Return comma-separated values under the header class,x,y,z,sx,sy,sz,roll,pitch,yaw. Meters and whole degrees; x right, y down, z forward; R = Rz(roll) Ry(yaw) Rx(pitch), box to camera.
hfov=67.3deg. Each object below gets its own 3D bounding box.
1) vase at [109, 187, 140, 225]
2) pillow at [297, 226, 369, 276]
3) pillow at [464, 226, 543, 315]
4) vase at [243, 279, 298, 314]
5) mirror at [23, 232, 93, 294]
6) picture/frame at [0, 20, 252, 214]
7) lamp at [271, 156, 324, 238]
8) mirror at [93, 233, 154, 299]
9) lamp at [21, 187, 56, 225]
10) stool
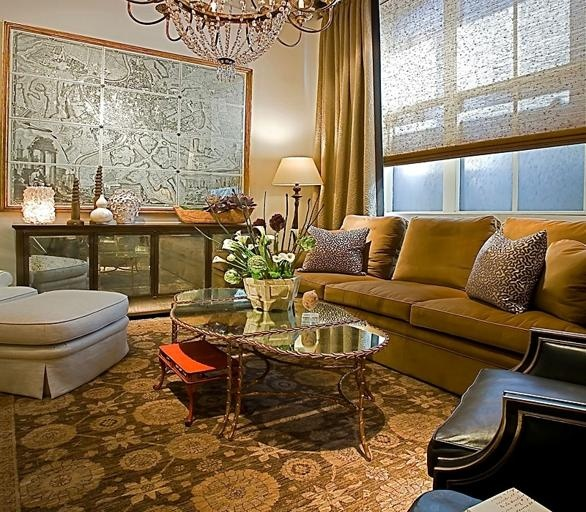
class,x,y,z,sx,sy,sz,roll,pitch,yaw
vase,-1.505,-0.455,3.969,0.289,0.262,0.294,11,12,44
pillow,0.327,-0.035,3.491,0.568,0.323,0.178,1,-5,20
pillow,1.154,0.089,2.401,0.313,0.428,0.598,-3,1,-17
vase,-0.123,0.202,2.403,0.335,0.145,0.283,0,2,4
mirror,-1.862,0.054,3.496,0.527,0.289,0.464,3,5,26
picture/frame,-1.589,-1.241,3.919,2.893,1.352,0.096,-1,3,-35
lamp,0.024,-0.629,4.669,0.672,0.663,0.569,2,-9,-12
mirror,-1.459,0.084,3.786,0.026,0.579,0.568,-1,-1,39
lamp,-2.025,-0.435,3.634,0.346,0.278,0.314,-6,10,-29
stool,-0.479,0.623,2.293,0.347,0.206,0.535,-4,4,-28
